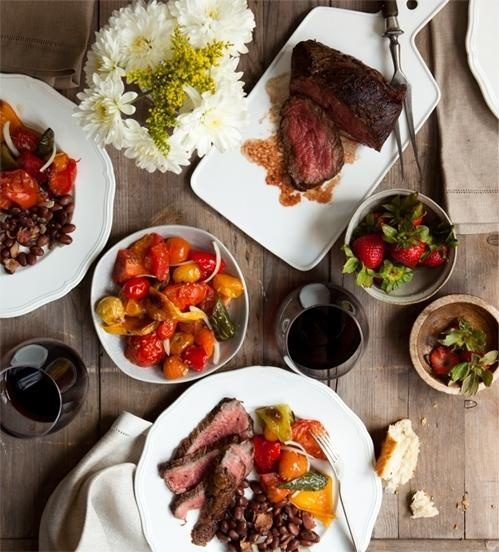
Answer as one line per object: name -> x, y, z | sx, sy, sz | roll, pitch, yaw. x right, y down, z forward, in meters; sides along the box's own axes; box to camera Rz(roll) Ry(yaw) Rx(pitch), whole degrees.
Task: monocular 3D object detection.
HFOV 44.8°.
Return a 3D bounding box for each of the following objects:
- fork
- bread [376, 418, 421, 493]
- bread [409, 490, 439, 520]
fork -> 0.229, 0.563, 1.657 | 0.049, 0.046, 0.369 | -24, 91, -28
bread -> 0.408, 0.502, 1.701 | 0.135, 0.046, 0.176 | 14, 83, -15
bread -> 0.499, 0.652, 1.725 | 0.085, 0.038, 0.080 | -1, 73, -2
